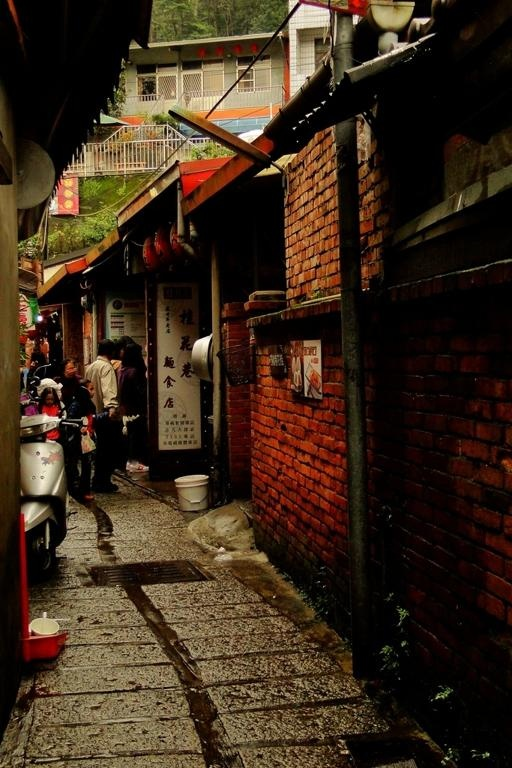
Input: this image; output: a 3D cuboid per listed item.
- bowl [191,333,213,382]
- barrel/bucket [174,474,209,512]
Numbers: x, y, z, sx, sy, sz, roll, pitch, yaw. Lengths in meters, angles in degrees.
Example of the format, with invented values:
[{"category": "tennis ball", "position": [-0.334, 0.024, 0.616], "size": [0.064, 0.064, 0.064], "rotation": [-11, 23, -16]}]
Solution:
[{"category": "bowl", "position": [-0.663, -0.312, 8.076], "size": [0.197, 0.550, 0.579], "rotation": [0, -1, -12]}, {"category": "barrel/bucket", "position": [-0.758, 1.278, 7.766], "size": [0.376, 0.379, 0.392], "rotation": [-3, -6, 0]}]
